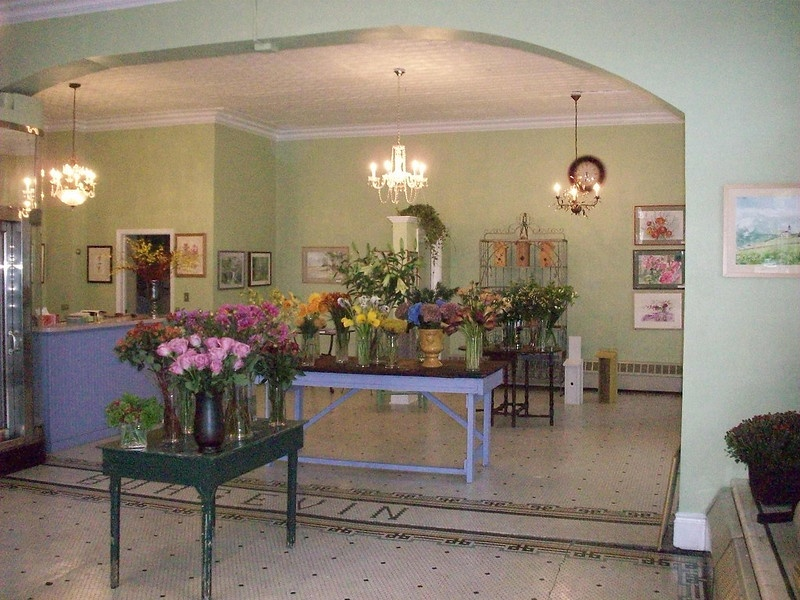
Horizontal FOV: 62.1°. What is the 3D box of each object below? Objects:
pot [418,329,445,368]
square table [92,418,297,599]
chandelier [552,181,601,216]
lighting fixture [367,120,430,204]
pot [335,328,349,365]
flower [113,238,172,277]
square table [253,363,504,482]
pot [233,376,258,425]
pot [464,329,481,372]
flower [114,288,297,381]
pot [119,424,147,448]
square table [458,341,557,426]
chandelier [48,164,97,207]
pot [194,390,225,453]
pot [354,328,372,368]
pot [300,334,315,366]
[{"bbox_3d":[0.313,0.476,6.667,0.244,0.371,0.291,0,4,1],"label":"pot"},{"bbox_3d":[-1.361,1.006,4.692,0.939,1.203,1.677,1,2,18],"label":"square table"},{"bbox_3d":[2.873,-1.655,10.846,0.653,0.514,0.661,6,8,42],"label":"chandelier"},{"bbox_3d":[-0.081,-1.998,10.407,0.802,0.980,0.836,3,11,-4],"label":"lighting fixture"},{"bbox_3d":[-0.588,0.462,6.790,0.119,0.364,0.225,-1,4,-8],"label":"pot"},{"bbox_3d":[-4.237,-0.685,10.825,0.625,0.489,0.682,7,4,42],"label":"flower"},{"bbox_3d":[-0.156,1.231,6.881,2.253,1.133,0.927,2,-1,5],"label":"square table"},{"bbox_3d":[-1.090,0.723,4.718,0.162,0.284,0.162,-3,2,0],"label":"pot"},{"bbox_3d":[0.728,0.473,6.567,0.156,0.409,0.237,0,4,6],"label":"pot"},{"bbox_3d":[-1.349,0.200,4.602,0.694,0.299,0.700,-11,-1,3],"label":"flower"},{"bbox_3d":[-1.760,0.887,4.383,0.180,0.157,0.178,0,4,0],"label":"pot"},{"bbox_3d":[1.564,1.244,9.269,0.571,0.800,1.075,-10,-3,42],"label":"square table"},{"bbox_3d":[-5.312,-1.864,10.724,0.763,0.823,0.766,0,13,-9],"label":"chandelier"},{"bbox_3d":[-1.220,0.775,4.248,0.183,0.395,0.109,-1,4,-13],"label":"pot"},{"bbox_3d":[-0.355,0.461,6.654,0.158,0.385,0.095,-1,4,-5],"label":"pot"},{"bbox_3d":[-0.912,0.502,6.712,0.155,0.304,0.161,0,4,0],"label":"pot"}]
